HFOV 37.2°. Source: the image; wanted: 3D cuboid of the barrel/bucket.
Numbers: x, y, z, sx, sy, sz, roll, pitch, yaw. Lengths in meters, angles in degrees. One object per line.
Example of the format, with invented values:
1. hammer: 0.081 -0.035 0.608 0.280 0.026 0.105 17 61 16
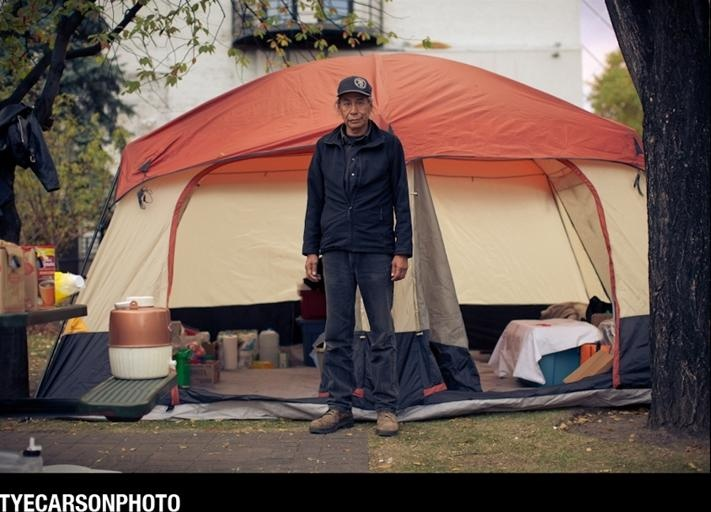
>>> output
1. barrel/bucket: -1.544 0.594 7.623 0.468 0.522 0.379 0 -2 5

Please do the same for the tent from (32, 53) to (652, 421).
1. tent: -0.085 -0.658 11.756 6.013 3.568 5.752 -2 8 -16

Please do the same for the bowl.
1. bowl: -1.519 0.607 7.603 0.413 0.500 0.419 -1 -1 0

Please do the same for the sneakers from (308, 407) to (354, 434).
1. sneakers: -0.214 1.417 9.145 0.423 0.198 0.164 1 -3 -38

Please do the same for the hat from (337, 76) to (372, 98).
1. hat: -0.017 -1.441 8.923 0.284 0.173 0.152 -2 -7 -1

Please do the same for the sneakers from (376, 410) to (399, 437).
1. sneakers: 0.272 1.428 9.034 0.185 0.216 0.220 -3 -7 1

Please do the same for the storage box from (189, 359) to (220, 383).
1. storage box: -1.452 1.111 10.286 0.227 0.134 0.227 1 3 25
